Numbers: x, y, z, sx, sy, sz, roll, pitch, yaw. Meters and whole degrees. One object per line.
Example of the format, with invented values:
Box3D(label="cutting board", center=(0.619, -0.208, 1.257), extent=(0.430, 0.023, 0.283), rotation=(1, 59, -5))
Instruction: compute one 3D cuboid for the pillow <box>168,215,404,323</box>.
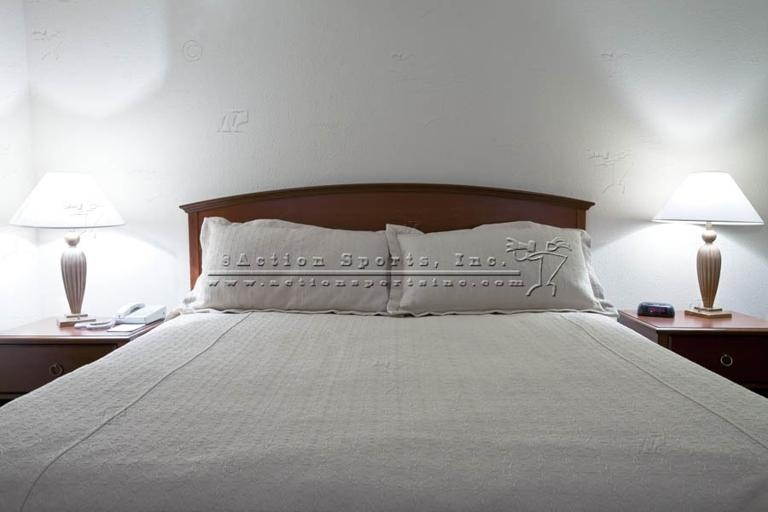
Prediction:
Box3D(label="pillow", center=(-0.470, 0.039, 2.235), extent=(0.843, 0.558, 0.177), rotation=(3, -25, 2))

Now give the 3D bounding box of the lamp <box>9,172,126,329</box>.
Box3D(label="lamp", center=(-1.678, -0.044, 2.527), extent=(0.540, 0.743, 0.524), rotation=(-3, -2, -5))

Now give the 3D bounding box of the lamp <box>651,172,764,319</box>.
Box3D(label="lamp", center=(1.791, -0.065, 2.882), extent=(0.731, 1.003, 0.750), rotation=(0, 1, 30))
